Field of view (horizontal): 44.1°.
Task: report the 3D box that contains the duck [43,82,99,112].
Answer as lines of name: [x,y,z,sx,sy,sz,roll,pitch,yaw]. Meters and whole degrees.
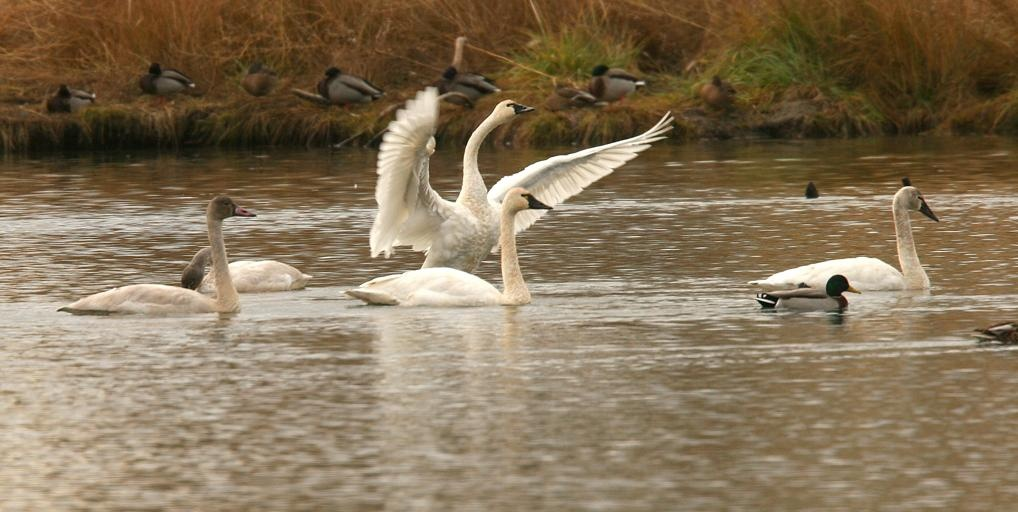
duck: [-12.574,-4.679,37.216,2.489,0.571,0.769,-4,-31,4]

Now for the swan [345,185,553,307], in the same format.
swan: [-0.901,-0.121,18.981,2.880,1.745,0.838,-1,4,-10]

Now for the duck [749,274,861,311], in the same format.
duck: [4.332,0.656,18.605,1.614,0.501,0.532,-1,2,-6]
